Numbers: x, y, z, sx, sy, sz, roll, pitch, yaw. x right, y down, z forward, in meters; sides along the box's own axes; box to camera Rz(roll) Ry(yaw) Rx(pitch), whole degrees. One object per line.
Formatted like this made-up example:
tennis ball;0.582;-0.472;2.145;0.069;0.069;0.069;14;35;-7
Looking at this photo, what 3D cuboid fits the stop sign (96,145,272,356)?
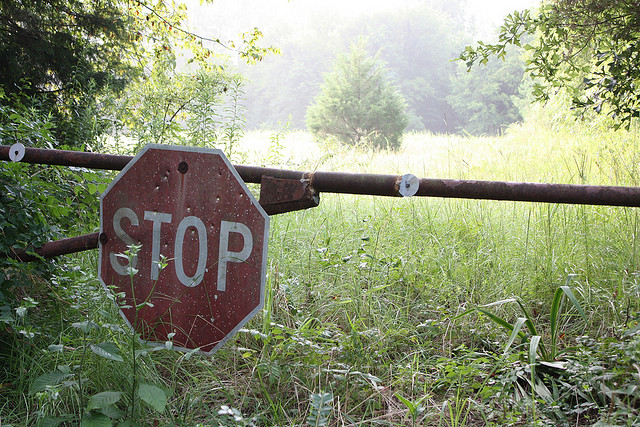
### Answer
stop sign;-0.967;0.288;3.683;1.436;1.566;0.054;3;3;2
